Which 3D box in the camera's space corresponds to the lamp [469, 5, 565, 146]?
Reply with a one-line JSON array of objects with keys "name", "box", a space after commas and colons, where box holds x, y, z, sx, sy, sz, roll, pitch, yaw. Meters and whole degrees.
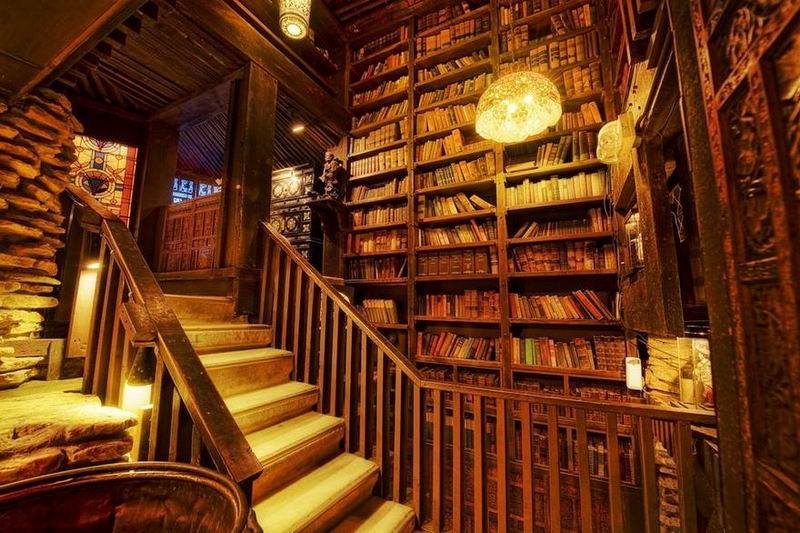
[{"name": "lamp", "box": [1.072, -1.453, 4.842, 0.753, 0.487, 0.373, -5, -11, 16]}]
